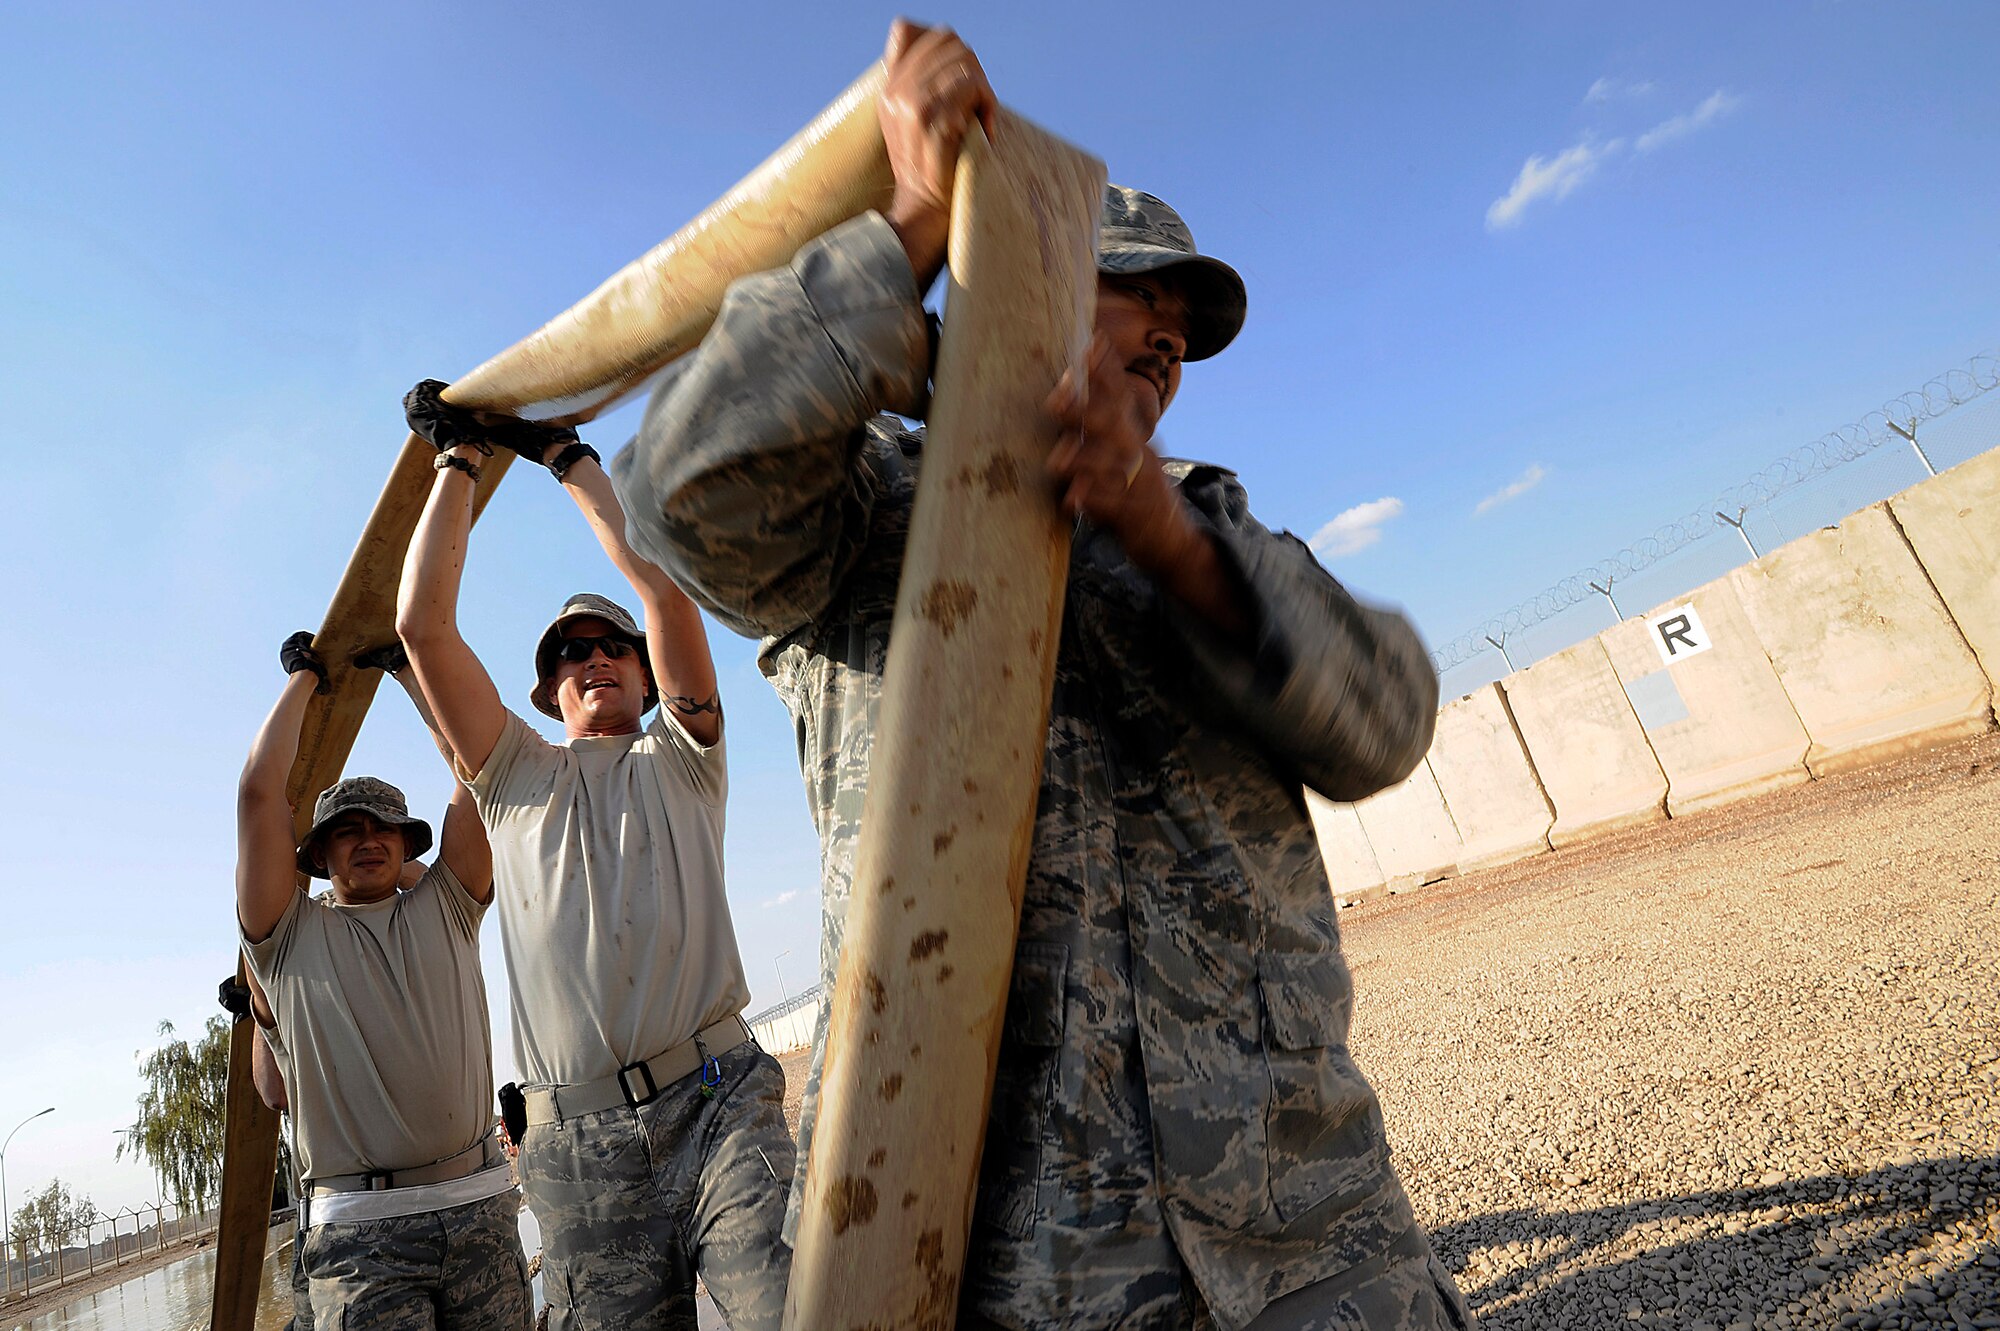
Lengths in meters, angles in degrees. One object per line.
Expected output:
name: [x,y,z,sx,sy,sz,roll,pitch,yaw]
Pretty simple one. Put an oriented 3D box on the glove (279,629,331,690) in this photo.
glove: [-2.573,-0.014,3.963,0.148,0.215,0.073,-30,-10,6]
